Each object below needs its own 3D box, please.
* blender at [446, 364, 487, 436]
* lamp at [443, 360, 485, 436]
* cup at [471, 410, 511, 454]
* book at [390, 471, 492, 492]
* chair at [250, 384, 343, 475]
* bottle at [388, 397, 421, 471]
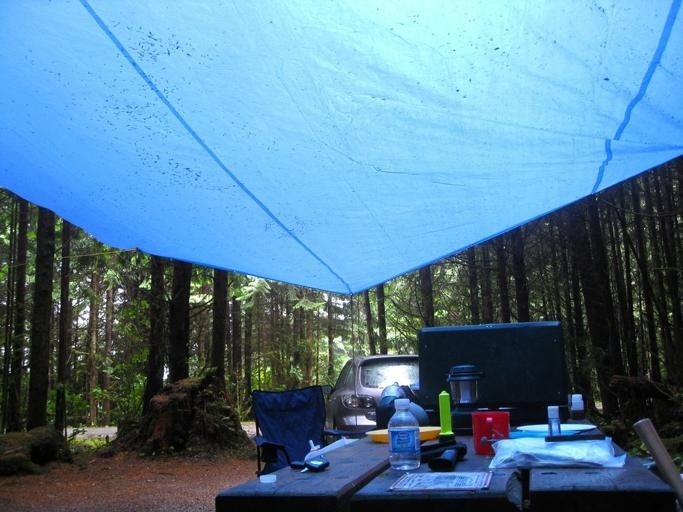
[{"bbox_3d":[0.947,1.087,4.302,0.285,0.484,0.287,3,-3,9],"label":"blender"},{"bbox_3d":[0.907,1.058,4.206,0.275,0.489,0.280,2,-3,9],"label":"lamp"},{"bbox_3d":[0.938,1.077,3.530,0.292,0.288,0.171,-5,-13,21],"label":"cup"},{"bbox_3d":[0.510,1.146,2.845,0.440,0.036,0.392,1,-5,2],"label":"book"},{"bbox_3d":[-0.498,1.939,6.378,0.907,1.365,0.970,-6,-12,27],"label":"chair"},{"bbox_3d":[0.358,1.019,3.231,0.169,0.368,0.175,4,-6,0],"label":"bottle"}]
